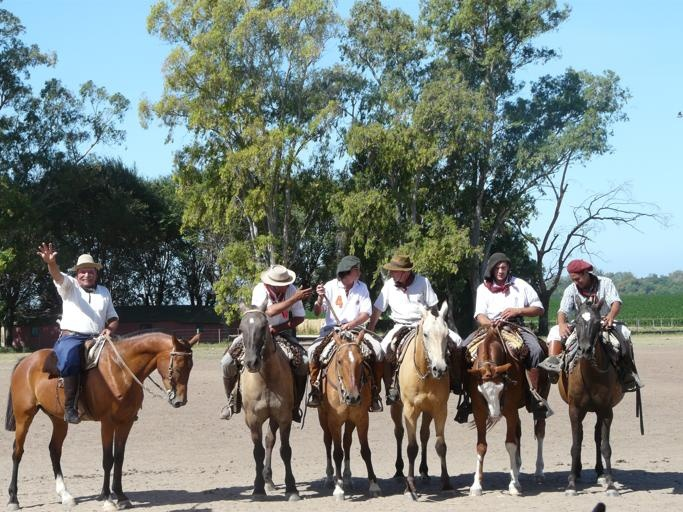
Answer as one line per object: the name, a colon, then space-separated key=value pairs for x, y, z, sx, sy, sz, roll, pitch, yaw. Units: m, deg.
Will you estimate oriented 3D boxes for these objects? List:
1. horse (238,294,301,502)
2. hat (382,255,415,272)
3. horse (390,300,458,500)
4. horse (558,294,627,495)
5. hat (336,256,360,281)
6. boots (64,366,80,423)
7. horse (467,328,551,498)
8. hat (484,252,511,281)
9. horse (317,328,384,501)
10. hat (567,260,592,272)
horse: x=-2.272 y=4.293 z=32.377 sx=1.656 sy=5.674 sz=1.942 roll=-4 pitch=9 yaw=-24
hat: x=1.798 y=0.209 z=34.014 sx=0.861 sy=0.579 sz=0.641 roll=0 pitch=9 yaw=6
horse: x=2.489 y=4.202 z=32.646 sx=1.640 sy=5.694 sz=2.556 roll=-2 pitch=9 yaw=-7
horse: x=7.539 y=4.112 z=32.477 sx=1.732 sy=5.632 sz=2.152 roll=1 pitch=9 yaw=9
hat: x=0.170 y=0.345 z=33.649 sx=0.586 sy=0.497 sz=0.601 roll=-12 pitch=-5 yaw=36
boots: x=-8.081 y=4.242 z=31.699 sx=0.479 sy=1.482 sz=0.504 roll=-2 pitch=9 yaw=-9
horse: x=4.663 y=4.550 z=32.544 sx=1.773 sy=4.868 sz=2.345 roll=1 pitch=9 yaw=8
hat: x=4.816 y=0.314 z=33.738 sx=0.670 sy=0.804 sz=0.839 roll=-10 pitch=7 yaw=-10
horse: x=0.089 y=4.695 z=32.358 sx=2.104 sy=4.884 sz=1.633 roll=7 pitch=11 yaw=40
hat: x=6.717 y=0.272 z=30.224 sx=0.545 sy=0.272 sz=0.599 roll=-4 pitch=1 yaw=31
